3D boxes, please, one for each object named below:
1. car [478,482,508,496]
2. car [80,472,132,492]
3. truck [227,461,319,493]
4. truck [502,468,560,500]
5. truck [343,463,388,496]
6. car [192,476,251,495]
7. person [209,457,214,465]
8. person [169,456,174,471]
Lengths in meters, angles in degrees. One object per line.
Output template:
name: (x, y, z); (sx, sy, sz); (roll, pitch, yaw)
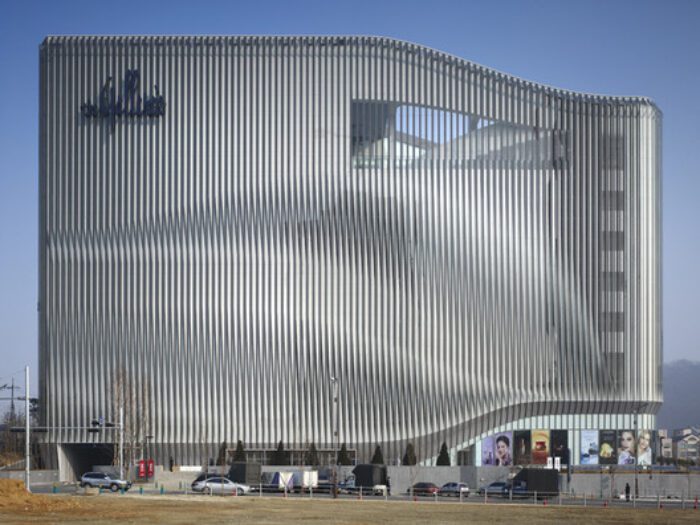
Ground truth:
car: (14.753, 22.851, 195.906); (2.200, 1.100, 1.343); (2, -5, 7)
car: (-24.831, 22.275, 197.677); (5.638, 2.074, 3.205); (-4, -9, 28)
truck: (-7.492, 21.555, 195.556); (9.030, 2.792, 2.119); (-1, -8, 13)
truck: (18.526, 21.977, 193.032); (3.454, 2.350, 3.585); (-1, -6, 2)
truck: (1.887, 21.934, 195.395); (4.704, 2.760, 2.379); (-2, -7, 36)
car: (-12.761, 22.271, 193.906); (5.960, 1.899, 3.708); (-1, -9, 13)
person: (-14.931, 21.579, 211.232); (0.595, 0.810, 1.343); (2, -8, -5)
person: (-19.212, 21.737, 210.979); (0.468, 1.490, 1.895); (2, -8, -6)
